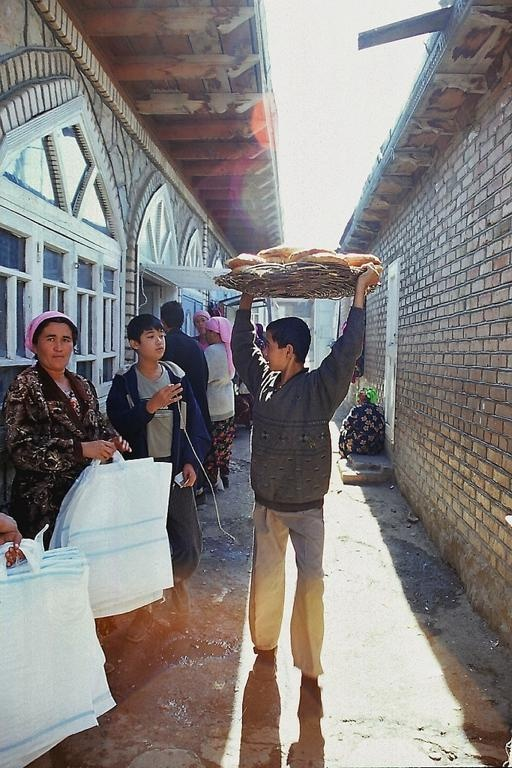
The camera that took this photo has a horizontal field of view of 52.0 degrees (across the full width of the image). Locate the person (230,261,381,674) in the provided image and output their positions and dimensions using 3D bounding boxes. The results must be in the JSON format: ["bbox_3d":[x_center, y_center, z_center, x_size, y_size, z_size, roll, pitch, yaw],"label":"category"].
[{"bbox_3d":[0.166,0.433,2.432,0.350,1.875,0.768,-1,3,-39],"label":"person"}]

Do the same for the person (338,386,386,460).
[{"bbox_3d":[1.406,0.515,6.902,0.605,0.919,0.650,7,-1,25],"label":"person"}]
